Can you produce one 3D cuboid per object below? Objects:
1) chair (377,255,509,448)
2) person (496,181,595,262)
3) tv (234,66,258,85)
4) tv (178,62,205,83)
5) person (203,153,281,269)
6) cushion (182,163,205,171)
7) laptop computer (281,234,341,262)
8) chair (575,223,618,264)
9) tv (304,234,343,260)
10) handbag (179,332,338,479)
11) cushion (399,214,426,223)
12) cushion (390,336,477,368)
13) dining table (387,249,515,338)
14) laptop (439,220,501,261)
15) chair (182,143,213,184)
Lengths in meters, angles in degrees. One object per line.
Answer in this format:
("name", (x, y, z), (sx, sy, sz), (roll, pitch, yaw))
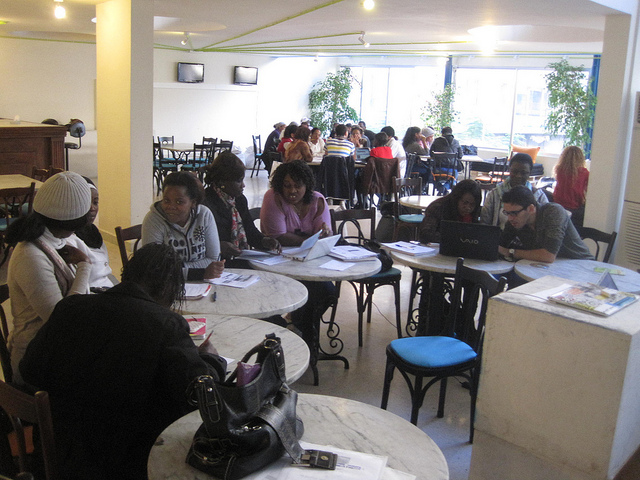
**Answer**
("chair", (0.677, 0.658, 2.865), (0.579, 1.011, 0.582), (5, 10, 14))
("person", (1.804, -0.167, 3.962), (0.728, 0.576, 1.144), (5, 13, 20))
("tv", (-2.158, -4.778, 14.238), (0.588, 0.416, 0.078), (-6, 17, -35))
("tv", (-3.468, -4.500, 13.171), (0.610, 0.436, 0.062), (-10, 16, -39))
("person", (-0.683, -0.072, 3.779), (0.532, 1.061, 0.454), (0, 17, -21))
("cushion", (-2.441, -1.423, 9.472), (0.362, 0.091, 0.558), (2, 12, 6))
("laptop computer", (-0.066, 0.054, 3.474), (0.409, 0.157, 0.215), (-1, 12, -4))
("chair", (2.498, 0.027, 4.429), (0.254, 0.431, 0.282), (12, 33, 27))
("tv", (0.027, 0.056, 3.457), (0.159, 0.138, 0.227), (35, 30, 23))
("handbag", (-0.208, 0.478, 1.483), (0.423, 0.305, 0.339), (3, 12, 30))
("cushion", (1.052, -0.237, 5.647), (0.272, 0.047, 0.372), (1, 12, 6))
("cushion", (0.631, 0.627, 2.810), (0.456, 0.070, 0.356), (-4, 13, -20))
("dining table", (0.911, 0.344, 3.540), (0.739, 0.530, 0.740), (1, 10, -7))
("laptop", (1.074, 0.058, 3.696), (0.440, 0.297, 0.308), (3, -15, -9))
("chair", (-2.258, -1.466, 9.564), (0.469, 0.787, 0.496), (4, 14, -11))
